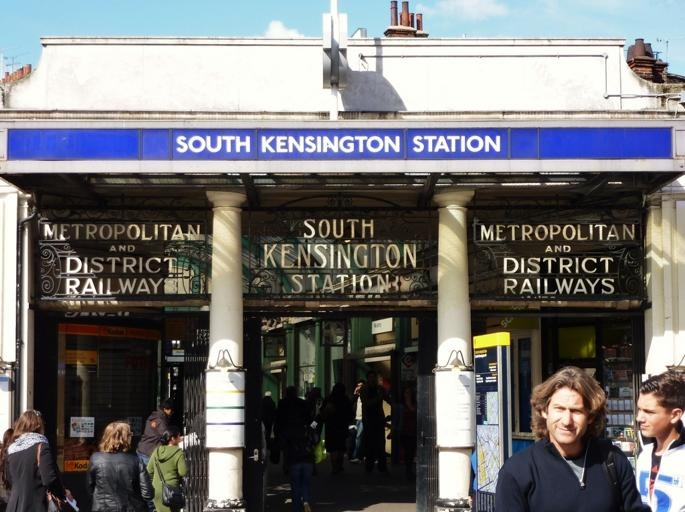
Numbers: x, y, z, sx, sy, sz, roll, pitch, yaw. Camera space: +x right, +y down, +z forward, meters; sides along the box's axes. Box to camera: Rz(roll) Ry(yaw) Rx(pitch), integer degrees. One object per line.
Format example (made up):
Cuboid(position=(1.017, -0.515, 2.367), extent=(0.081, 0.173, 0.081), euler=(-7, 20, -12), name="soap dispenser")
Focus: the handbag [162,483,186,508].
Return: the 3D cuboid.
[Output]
Cuboid(position=(-2.299, 3.254, 22.166), extent=(0.125, 0.280, 0.328), euler=(-20, -25, 18), name="handbag")
